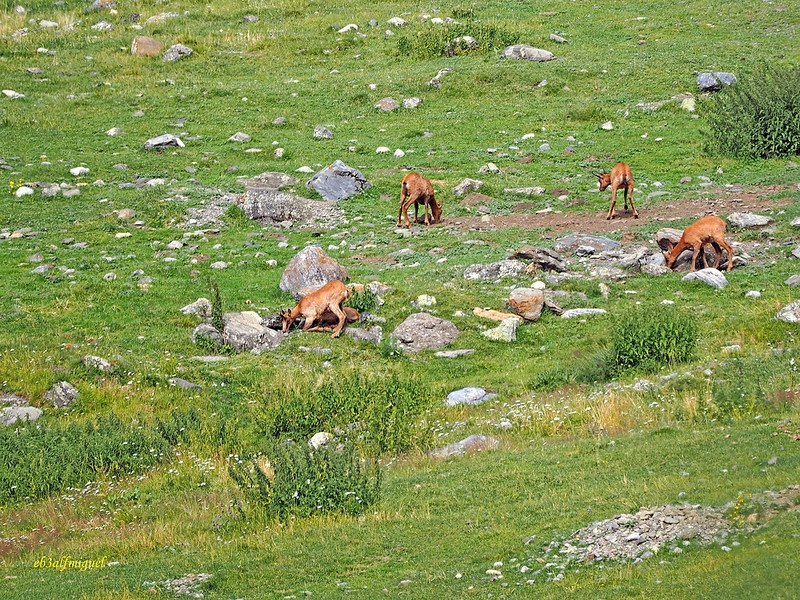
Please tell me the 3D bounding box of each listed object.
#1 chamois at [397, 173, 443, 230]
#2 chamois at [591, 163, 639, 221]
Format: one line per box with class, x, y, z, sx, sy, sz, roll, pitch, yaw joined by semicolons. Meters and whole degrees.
chamois;0.596;-4.121;78.664;1.724;2.167;1.151;-5;12;2
chamois;8.387;-4.463;77.830;1.511;2.038;2.563;-4;13;5
